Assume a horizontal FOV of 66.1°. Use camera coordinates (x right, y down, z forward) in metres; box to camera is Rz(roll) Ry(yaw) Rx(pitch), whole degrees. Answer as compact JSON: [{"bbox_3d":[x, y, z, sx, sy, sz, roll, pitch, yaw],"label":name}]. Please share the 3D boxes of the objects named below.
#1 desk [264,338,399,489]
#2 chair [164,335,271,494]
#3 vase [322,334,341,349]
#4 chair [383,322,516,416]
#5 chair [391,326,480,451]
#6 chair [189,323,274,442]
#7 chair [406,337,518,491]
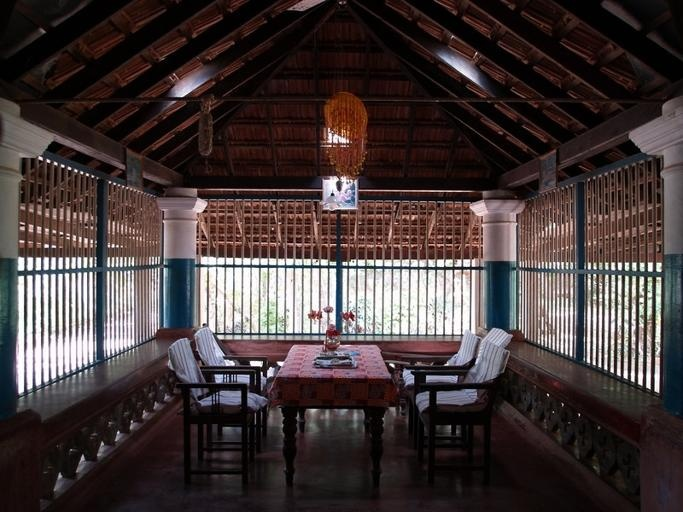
[{"bbox_3d":[-0.073,1.756,6.126,1.348,1.114,1.739,1,9,4],"label":"desk"},{"bbox_3d":[-1.395,1.750,6.056,1.095,1.362,1.938,0,0,-3],"label":"chair"},{"bbox_3d":[-0.131,1.159,7.063,0.176,0.160,0.197,0,-6,-2],"label":"vase"},{"bbox_3d":[1.376,1.508,6.707,1.270,0.931,0.942,-5,0,5],"label":"chair"},{"bbox_3d":[1.274,1.636,6.842,0.910,1.225,0.930,-4,-1,3],"label":"chair"},{"bbox_3d":[-1.562,1.559,7.008,1.207,1.476,1.054,0,-1,-1],"label":"chair"},{"bbox_3d":[1.313,1.706,6.007,1.005,1.397,1.493,1,9,8],"label":"chair"}]
